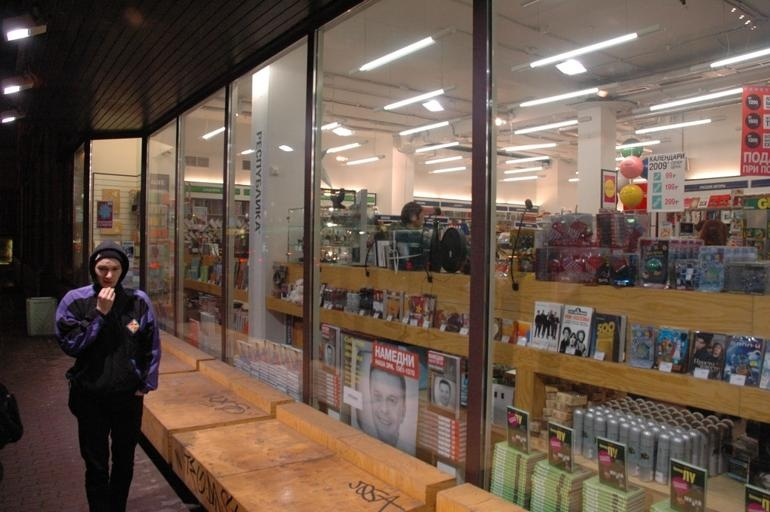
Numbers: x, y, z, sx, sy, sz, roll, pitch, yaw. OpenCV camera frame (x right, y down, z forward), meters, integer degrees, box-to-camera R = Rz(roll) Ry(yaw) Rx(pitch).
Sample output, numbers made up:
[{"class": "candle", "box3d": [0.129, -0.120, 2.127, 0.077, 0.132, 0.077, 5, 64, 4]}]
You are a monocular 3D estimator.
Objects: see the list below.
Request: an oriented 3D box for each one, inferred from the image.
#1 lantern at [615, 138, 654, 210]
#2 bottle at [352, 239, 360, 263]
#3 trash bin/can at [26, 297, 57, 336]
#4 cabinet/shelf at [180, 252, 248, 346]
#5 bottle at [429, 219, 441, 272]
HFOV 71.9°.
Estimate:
[{"class": "lantern", "box3d": [1.344, -0.417, 2.888, 0.146, 0.334, 0.098, 4, 4, 25]}, {"class": "bottle", "box3d": [-0.255, -0.032, 4.525, 0.018, 0.167, 0.117, 0, 5, -36]}, {"class": "trash bin/can", "box3d": [-6.579, 1.145, 10.174, 0.443, 0.681, 0.504, 0, 5, -33]}, {"class": "cabinet/shelf", "box3d": [-2.178, 0.552, 6.832, 0.386, 1.096, 1.174, -1, 5, -36]}, {"class": "bottle", "box3d": [0.348, -0.072, 3.762, 0.067, 0.365, 0.147, 0, 5, -33]}]
